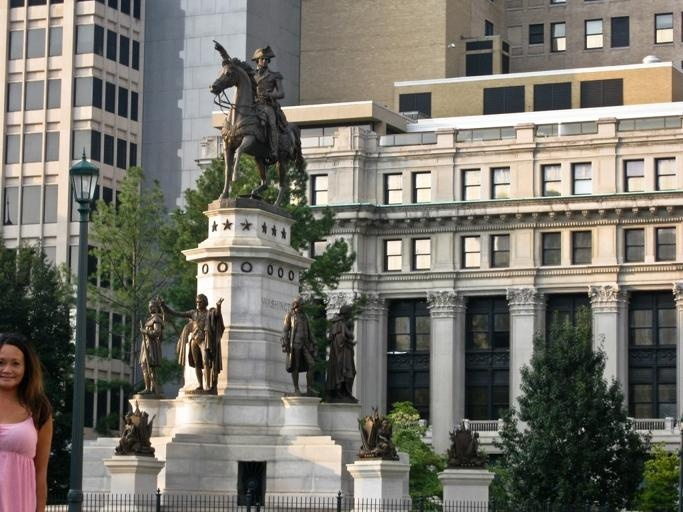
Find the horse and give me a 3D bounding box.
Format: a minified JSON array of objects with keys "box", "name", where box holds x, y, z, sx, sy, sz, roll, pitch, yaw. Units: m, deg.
[{"box":[-3.959,-5.516,114.408,2.110,6.679,7.442,-3,-11,33],"name":"horse"}]
